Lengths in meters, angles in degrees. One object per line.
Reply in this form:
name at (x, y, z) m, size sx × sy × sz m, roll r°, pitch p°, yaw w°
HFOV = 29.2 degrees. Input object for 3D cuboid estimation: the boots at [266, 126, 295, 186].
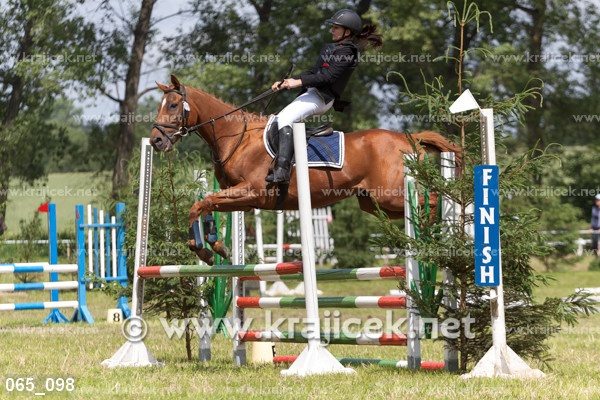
boots at (-0.385, -0.930, 23.807) m, size 0.400 × 1.152 × 0.577 m, roll 4°, pitch 9°, yaw 28°

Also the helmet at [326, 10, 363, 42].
helmet at (0.962, -3.730, 24.386) m, size 0.722 × 0.443 × 0.496 m, roll 8°, pitch 17°, yaw -14°
